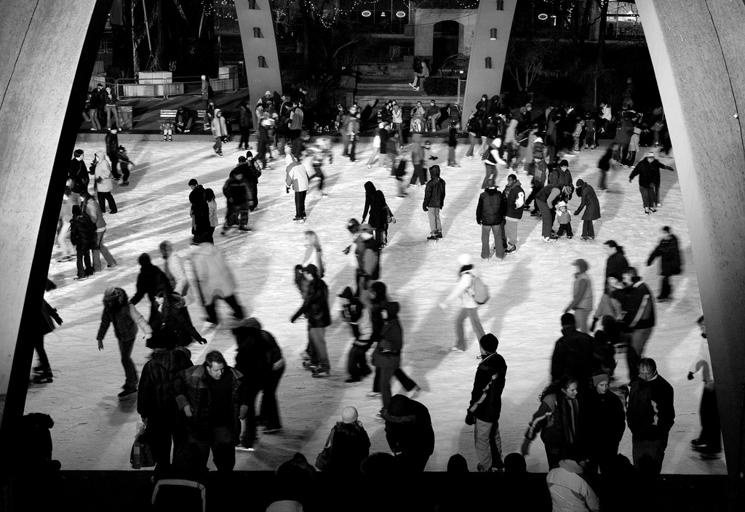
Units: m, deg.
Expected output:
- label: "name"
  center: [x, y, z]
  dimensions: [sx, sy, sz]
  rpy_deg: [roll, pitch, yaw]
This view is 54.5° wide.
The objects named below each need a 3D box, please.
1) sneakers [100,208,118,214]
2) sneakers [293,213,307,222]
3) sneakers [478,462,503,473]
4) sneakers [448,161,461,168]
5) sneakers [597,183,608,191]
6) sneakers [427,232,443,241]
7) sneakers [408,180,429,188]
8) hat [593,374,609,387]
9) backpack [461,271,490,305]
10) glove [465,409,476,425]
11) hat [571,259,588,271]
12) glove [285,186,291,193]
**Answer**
- label: "sneakers"
  center: [-7.456, -1.288, 20.409]
  dimensions: [0.464, 0.182, 0.140]
  rpy_deg: [8, 12, 11]
- label: "sneakers"
  center: [-1.982, -1.048, 19.727]
  dimensions: [0.322, 0.136, 0.167]
  rpy_deg: [7, 16, 35]
- label: "sneakers"
  center: [1.467, 2.587, 8.985]
  dimensions: [0.315, 0.165, 0.129]
  rpy_deg: [2, 12, 5]
- label: "sneakers"
  center: [2.907, -3.211, 25.051]
  dimensions: [0.506, 0.282, 0.177]
  rpy_deg: [9, 24, 30]
- label: "sneakers"
  center: [7.258, -2.157, 22.693]
  dimensions: [0.248, 0.168, 0.252]
  rpy_deg: [7, 17, 32]
- label: "sneakers"
  center: [1.597, -0.528, 18.510]
  dimensions: [0.461, 0.181, 0.162]
  rpy_deg: [-1, 18, -1]
- label: "sneakers"
  center: [1.486, -2.259, 22.548]
  dimensions: [0.695, 0.289, 0.239]
  rpy_deg: [-3, 6, 45]
- label: "hat"
  center: [2.623, 1.414, 8.265]
  dimensions: [0.150, 0.133, 0.207]
  rpy_deg: [2, 12, 10]
- label: "backpack"
  center: [1.807, 0.463, 12.280]
  dimensions: [0.414, 0.723, 0.495]
  rpy_deg: [-15, 45, 5]
- label: "glove"
  center: [1.210, 1.961, 8.876]
  dimensions: [0.118, 0.218, 0.202]
  rpy_deg: [1, 12, 4]
- label: "hat"
  center: [3.829, 0.163, 13.348]
  dimensions: [0.320, 0.212, 0.272]
  rpy_deg: [-6, 19, -2]
- label: "glove"
  center: [-2.564, -1.993, 21.693]
  dimensions: [0.217, 0.207, 0.062]
  rpy_deg: [1, 11, 31]
